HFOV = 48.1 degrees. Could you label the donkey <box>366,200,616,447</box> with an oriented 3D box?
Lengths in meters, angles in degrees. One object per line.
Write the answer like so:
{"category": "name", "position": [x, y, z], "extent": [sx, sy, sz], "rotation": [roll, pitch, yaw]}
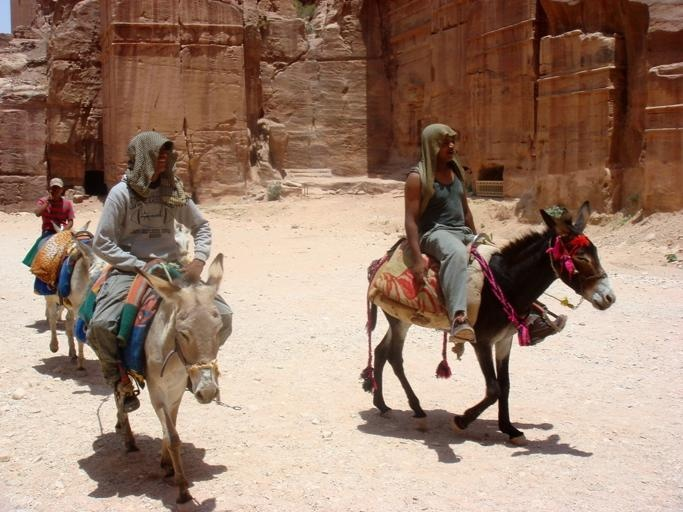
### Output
{"category": "donkey", "position": [1.465, 0.665, 7.854], "extent": [2.494, 2.397, 0.765], "rotation": [2, 15, 16]}
